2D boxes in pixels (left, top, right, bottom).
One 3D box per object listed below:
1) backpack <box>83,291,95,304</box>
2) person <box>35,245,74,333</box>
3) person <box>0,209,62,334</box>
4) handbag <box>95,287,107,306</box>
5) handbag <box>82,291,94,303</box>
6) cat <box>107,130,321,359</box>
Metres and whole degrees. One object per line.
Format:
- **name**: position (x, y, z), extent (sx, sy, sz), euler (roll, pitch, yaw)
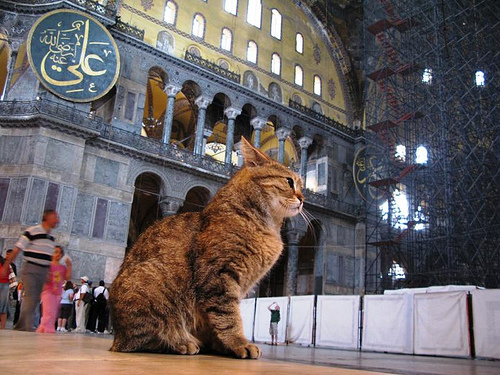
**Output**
- **backpack**: position (-4.113, 2.817, 11.165), extent (0.345, 0.366, 0.249), euler (8, 4, -21)
- **person**: position (-2.627, 1.377, 5.800), extent (0.396, 1.153, 0.379), euler (-12, -18, 40)
- **person**: position (-2.573, 0.909, 5.002), extent (0.503, 1.421, 0.494), euler (9, -16, -24)
- **handbag**: position (-3.789, 2.831, 11.195), extent (0.268, 0.420, 0.420), euler (-1, -16, 12)
- **handbag**: position (-4.169, 2.795, 11.074), extent (0.210, 0.231, 0.387), euler (2, -16, 1)
- **cat**: position (-0.018, 0.732, 3.364), extent (1.753, 1.836, 1.029), euler (4, -25, -10)
